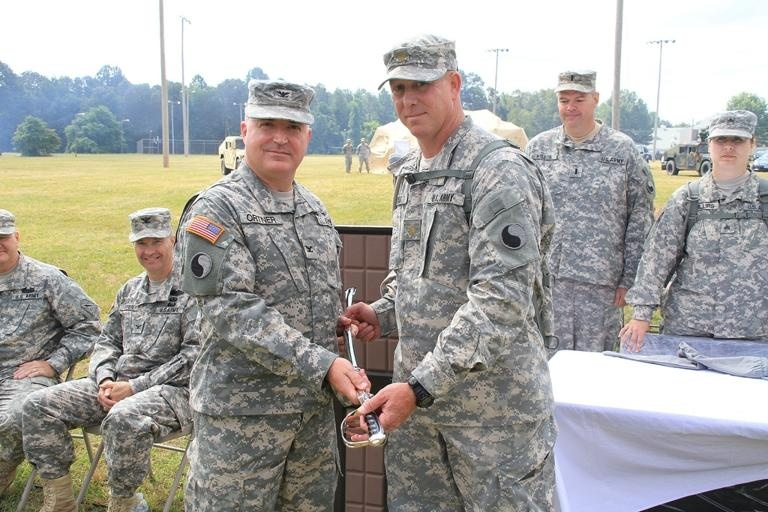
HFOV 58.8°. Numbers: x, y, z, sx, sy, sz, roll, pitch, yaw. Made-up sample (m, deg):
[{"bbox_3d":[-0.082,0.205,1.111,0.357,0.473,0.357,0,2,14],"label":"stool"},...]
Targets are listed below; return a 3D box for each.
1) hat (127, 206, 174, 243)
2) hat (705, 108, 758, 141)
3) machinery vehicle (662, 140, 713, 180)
[{"bbox_3d":[-1.831,-0.259,5.407,0.260,0.159,0.319,-3,-2,-1],"label":"hat"},{"bbox_3d":[2.563,-0.967,5.017,0.316,0.213,0.193,6,12,21],"label":"hat"},{"bbox_3d":[7.297,-2.386,16.818,1.435,0.632,0.923,0,10,-8],"label":"machinery vehicle"}]
